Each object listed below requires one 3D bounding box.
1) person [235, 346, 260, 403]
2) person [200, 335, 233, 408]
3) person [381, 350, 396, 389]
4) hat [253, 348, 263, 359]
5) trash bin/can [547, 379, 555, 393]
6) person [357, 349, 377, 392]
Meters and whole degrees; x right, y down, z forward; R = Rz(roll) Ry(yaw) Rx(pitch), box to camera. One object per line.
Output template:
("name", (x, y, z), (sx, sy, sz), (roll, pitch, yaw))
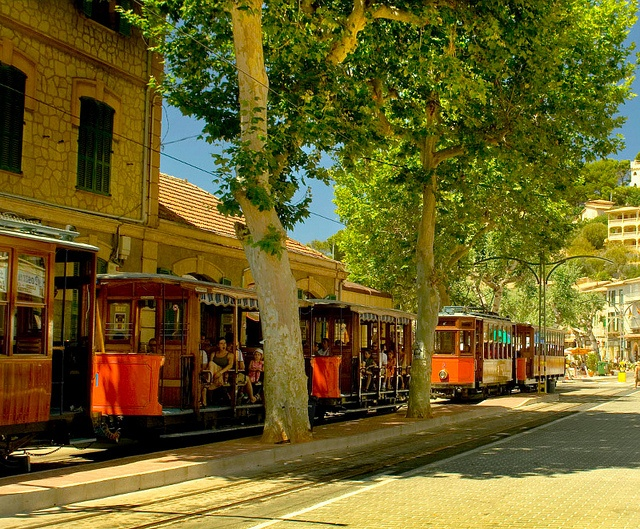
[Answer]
("person", (-1.850, 2.962, 19.992), (0.457, 1.494, 1.601), (-4, -13, 11))
("person", (-2.540, 2.623, 18.264), (0.504, 1.689, 1.074), (-12, -16, 42))
("person", (2.448, 3.679, 26.136), (0.431, 1.411, 1.340), (-5, -13, 16))
("hat", (-1.677, 2.478, 20.453), (0.204, 0.255, 0.224), (2, 28, 13))
("trash bin/can", (12.091, 6.368, 39.044), (0.360, 0.741, 0.950), (-6, -14, 16))
("person", (1.571, 3.487, 24.760), (0.441, 1.226, 0.674), (4, 7, 12))
